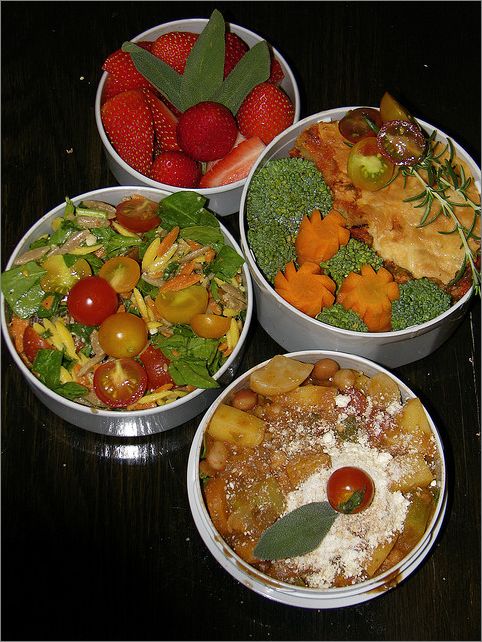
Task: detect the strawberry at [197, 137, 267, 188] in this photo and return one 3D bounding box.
[{"bbox_3d":[-0.016,-0.359,1.368,0.157,0.097,0.036,-45,53,5],"label":"strawberry"}]

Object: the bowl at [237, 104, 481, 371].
[{"bbox_3d":[0.214,-0.117,1.441,0.547,0.247,0.577,-1,75,3],"label":"bowl"}]

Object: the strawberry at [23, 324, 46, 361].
[{"bbox_3d":[-0.416,0.044,1.181,0.036,0.056,0.058,-7,64,-19],"label":"strawberry"}]

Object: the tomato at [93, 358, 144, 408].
[{"bbox_3d":[-0.230,0.121,1.142,0.096,0.053,0.093,-23,78,-5],"label":"tomato"}]

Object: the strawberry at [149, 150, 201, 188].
[{"bbox_3d":[-0.150,-0.336,1.411,0.108,0.079,0.084,12,60,-34],"label":"strawberry"}]

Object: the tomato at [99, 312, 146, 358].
[{"bbox_3d":[-0.222,0.030,1.173,0.081,0.096,0.086,1,36,7],"label":"tomato"}]

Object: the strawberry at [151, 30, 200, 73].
[{"bbox_3d":[-0.169,-0.657,1.451,0.082,0.089,0.111,-4,41,33],"label":"strawberry"}]

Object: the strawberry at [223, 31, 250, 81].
[{"bbox_3d":[-0.008,-0.635,1.448,0.085,0.060,0.104,8,94,11],"label":"strawberry"}]

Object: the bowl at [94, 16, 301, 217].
[{"bbox_3d":[-0.120,-0.485,1.285,0.504,0.232,0.511,0,87,-2],"label":"bowl"}]

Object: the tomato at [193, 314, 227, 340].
[{"bbox_3d":[-0.061,0.015,1.179,0.079,0.059,0.042,3,77,2],"label":"tomato"}]

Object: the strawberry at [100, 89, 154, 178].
[{"bbox_3d":[-0.244,-0.435,1.411,0.117,0.193,0.098,-12,14,36],"label":"strawberry"}]

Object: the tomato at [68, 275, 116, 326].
[{"bbox_3d":[-0.298,-0.038,1.180,0.089,0.097,0.097,-1,90,37],"label":"tomato"}]

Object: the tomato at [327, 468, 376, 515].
[{"bbox_3d":[0.184,0.280,0.981,0.075,0.075,0.075,-2,55,14],"label":"tomato"}]

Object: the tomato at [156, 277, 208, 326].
[{"bbox_3d":[-0.122,-0.038,1.200,0.099,0.046,0.092,15,77,4],"label":"tomato"}]

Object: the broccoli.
[{"bbox_3d":[0.183,-0.131,1.306,0.398,0.113,0.351,37,61,-9],"label":"broccoli"}]

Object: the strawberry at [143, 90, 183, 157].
[{"bbox_3d":[-0.183,-0.469,1.453,0.044,0.148,0.116,-19,26,14],"label":"strawberry"}]

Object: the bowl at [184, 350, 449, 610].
[{"bbox_3d":[0.124,0.298,1.081,0.417,0.100,0.424,-1,73,3],"label":"bowl"}]
